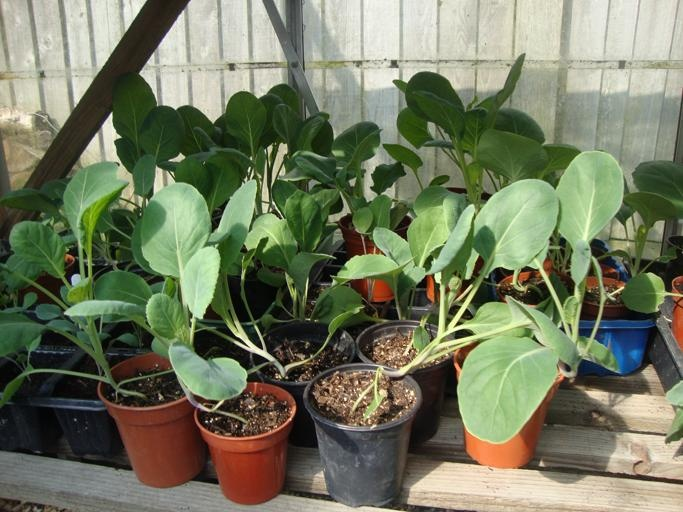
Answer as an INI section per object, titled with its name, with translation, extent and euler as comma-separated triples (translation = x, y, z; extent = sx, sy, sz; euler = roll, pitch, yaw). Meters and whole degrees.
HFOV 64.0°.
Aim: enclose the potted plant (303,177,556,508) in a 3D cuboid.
[potted plant]
translation = 0.242, 0.048, 1.713
extent = 0.936, 0.976, 0.448
euler = -17, 24, -24
